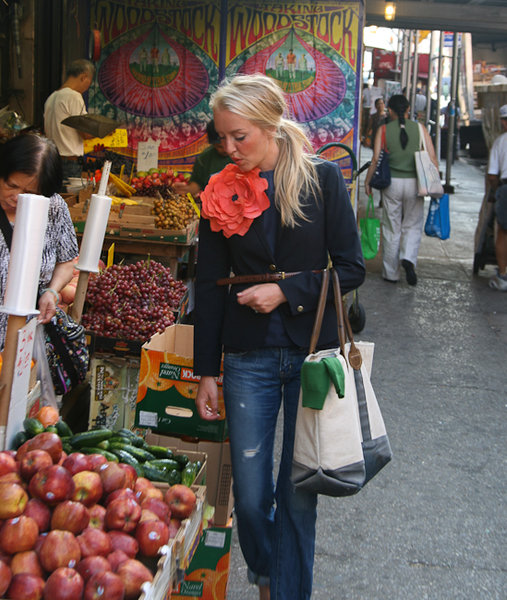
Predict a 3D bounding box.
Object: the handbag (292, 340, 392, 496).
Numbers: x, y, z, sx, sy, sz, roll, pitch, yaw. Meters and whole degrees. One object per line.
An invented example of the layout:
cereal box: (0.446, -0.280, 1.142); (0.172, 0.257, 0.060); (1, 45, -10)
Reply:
handbag: (0.326, 0.406, 1.483); (0.363, 0.499, 0.165); (0, 11, -13)

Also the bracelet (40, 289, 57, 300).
bracelet: (-1.082, -0.030, 2.356); (0.059, 0.036, 0.071); (26, 5, -7)

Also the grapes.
grapes: (-0.930, -0.014, 3.451); (0.505, 0.414, 0.739); (3, 22, 7)
